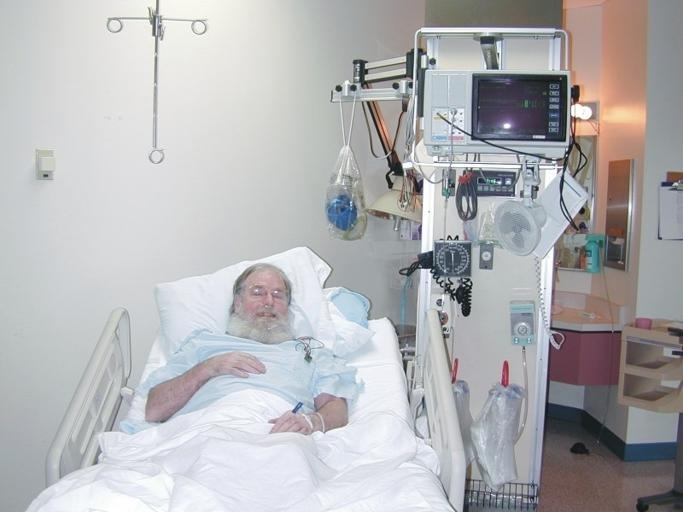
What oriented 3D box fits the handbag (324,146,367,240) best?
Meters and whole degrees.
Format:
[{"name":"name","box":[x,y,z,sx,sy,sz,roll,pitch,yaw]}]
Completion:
[{"name":"handbag","box":[0.029,-0.329,2.982,0.187,0.519,0.192,4,12,28]}]

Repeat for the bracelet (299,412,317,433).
[{"name":"bracelet","box":[-0.137,0.690,2.295,0.017,0.072,0.070,-11,7,-14]}]

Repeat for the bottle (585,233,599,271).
[{"name":"bottle","box":[1.929,-0.020,4.282,0.113,0.281,0.073,7,13,38]}]

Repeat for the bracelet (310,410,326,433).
[{"name":"bracelet","box":[-0.100,0.710,2.373,0.072,0.072,0.066,-36,-5,-22]}]

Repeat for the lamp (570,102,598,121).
[{"name":"lamp","box":[1.898,-1.122,4.307,0.168,0.144,0.057,-1,10,3]}]

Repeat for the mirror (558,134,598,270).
[{"name":"mirror","box":[1.851,-0.409,4.375,0.250,1.061,0.195,7,13,40]}]

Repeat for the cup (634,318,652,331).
[{"name":"cup","box":[1.855,0.423,3.425,0.069,0.062,0.077,5,8,1]}]

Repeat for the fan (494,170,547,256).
[{"name":"fan","box":[0.772,-0.191,2.397,0.216,0.377,0.114,1,10,14]}]
